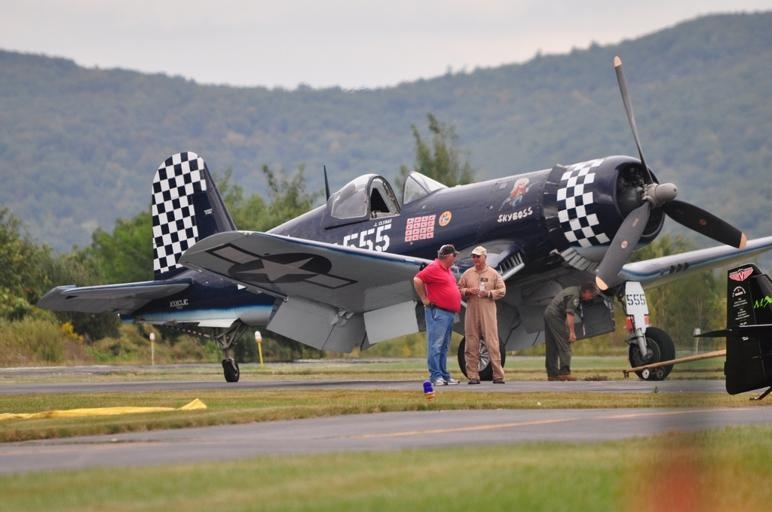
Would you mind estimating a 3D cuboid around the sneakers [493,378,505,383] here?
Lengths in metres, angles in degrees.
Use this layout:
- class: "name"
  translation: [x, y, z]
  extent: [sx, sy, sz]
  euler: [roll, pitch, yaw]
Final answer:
- class: "sneakers"
  translation: [3.168, 3.511, 34.301]
  extent: [0.322, 0.166, 0.248]
  euler: [-3, -2, -8]

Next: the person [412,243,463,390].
- class: "person"
  translation: [1.482, 1.641, 34.050]
  extent: [1.254, 3.879, 0.839]
  euler: [-4, -2, 3]

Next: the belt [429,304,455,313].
- class: "belt"
  translation: [1.596, 1.471, 33.785]
  extent: [0.761, 0.289, 0.142]
  euler: [-3, -2, -11]

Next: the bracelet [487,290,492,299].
- class: "bracelet"
  translation: [2.877, 1.077, 34.131]
  extent: [0.049, 0.147, 0.135]
  euler: [-3, 7, 35]
